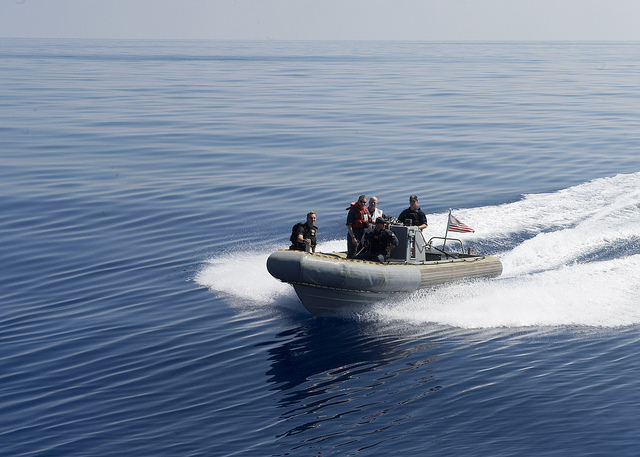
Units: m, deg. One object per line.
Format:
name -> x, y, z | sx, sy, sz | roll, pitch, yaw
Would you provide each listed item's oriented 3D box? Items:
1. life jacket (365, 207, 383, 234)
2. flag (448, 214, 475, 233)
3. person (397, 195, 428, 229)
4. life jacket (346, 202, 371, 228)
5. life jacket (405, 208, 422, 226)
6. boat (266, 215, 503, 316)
life jacket -> 1.507, -0.210, 31.020 | 0.654, 0.603, 0.283 | 5, -5, -29
flag -> 4.430, -0.105, 33.426 | 0.950, 0.585, 0.064 | 2, 11, 10
person -> 2.722, -0.375, 31.116 | 0.806, 0.907, 0.945 | 5, 31, 1
life jacket -> 1.138, -0.339, 30.596 | 0.602, 0.727, 0.979 | 2, 8, 29
life jacket -> 2.785, -0.280, 31.329 | 0.456, 0.440, 0.543 | 4, 3, 24
boat -> 1.827, 0.936, 30.973 | 6.719, 2.026, 2.677 | -2, 6, -27
